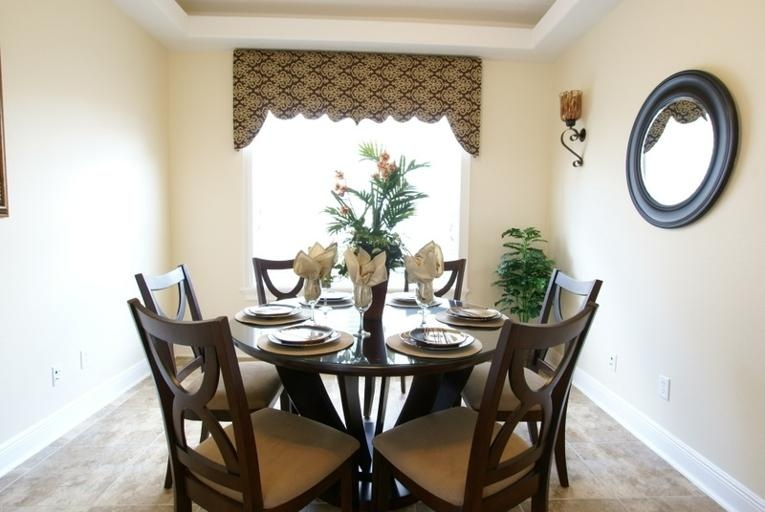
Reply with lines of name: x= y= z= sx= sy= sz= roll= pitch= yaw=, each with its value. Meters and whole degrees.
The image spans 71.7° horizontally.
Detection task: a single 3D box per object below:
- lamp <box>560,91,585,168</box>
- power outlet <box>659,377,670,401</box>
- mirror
lamp: x=1.708 y=-1.147 z=4.852 sx=0.217 sy=0.679 sz=0.341 roll=-1 pitch=8 yaw=0
power outlet: x=2.062 y=0.967 z=3.864 sx=0.022 sy=0.163 sz=0.090 roll=-5 pitch=9 yaw=-22
mirror: x=2.117 y=-0.753 z=3.796 sx=0.187 sy=1.083 sz=0.820 roll=-4 pitch=8 yaw=-18
